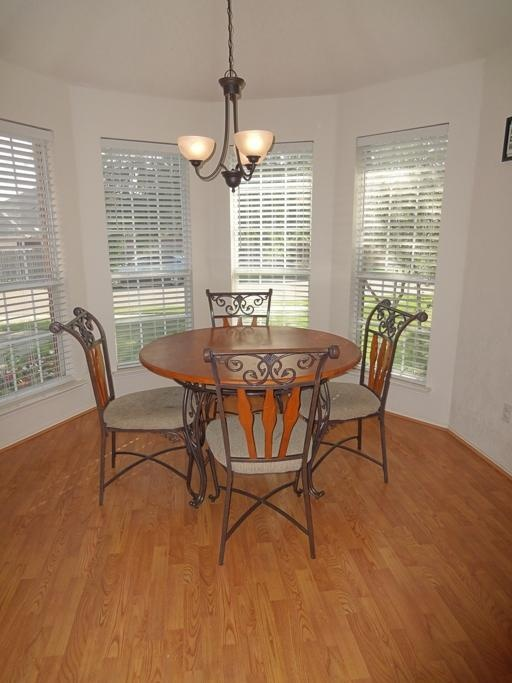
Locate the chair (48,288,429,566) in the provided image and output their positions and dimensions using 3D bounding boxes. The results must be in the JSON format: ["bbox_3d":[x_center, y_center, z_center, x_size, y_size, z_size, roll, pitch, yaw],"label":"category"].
[{"bbox_3d":[-0.257,0.199,2.998,1.810,0.970,1.860,-6,14,-24],"label":"chair"}]
